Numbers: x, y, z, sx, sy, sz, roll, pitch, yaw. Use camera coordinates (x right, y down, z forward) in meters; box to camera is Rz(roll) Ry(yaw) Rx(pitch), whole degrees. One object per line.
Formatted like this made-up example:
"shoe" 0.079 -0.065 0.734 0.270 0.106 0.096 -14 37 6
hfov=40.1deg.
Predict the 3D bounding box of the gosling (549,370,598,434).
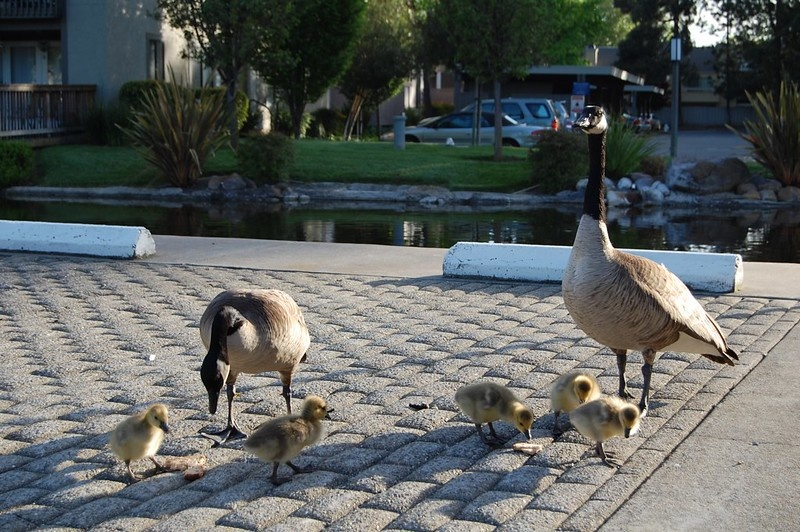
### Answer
"gosling" 1.923 1.530 12.186 0.371 0.546 0.644 -14 -1 -2

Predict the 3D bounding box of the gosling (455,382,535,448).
"gosling" 1.035 1.622 12.238 0.845 0.681 0.420 0 8 2

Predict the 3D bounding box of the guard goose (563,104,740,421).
"guard goose" 2.906 -0.030 13.056 2.767 3.436 1.175 5 -4 -34

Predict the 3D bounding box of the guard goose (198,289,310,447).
"guard goose" -1.649 0.983 12.158 1.166 1.713 1.373 2 6 13
